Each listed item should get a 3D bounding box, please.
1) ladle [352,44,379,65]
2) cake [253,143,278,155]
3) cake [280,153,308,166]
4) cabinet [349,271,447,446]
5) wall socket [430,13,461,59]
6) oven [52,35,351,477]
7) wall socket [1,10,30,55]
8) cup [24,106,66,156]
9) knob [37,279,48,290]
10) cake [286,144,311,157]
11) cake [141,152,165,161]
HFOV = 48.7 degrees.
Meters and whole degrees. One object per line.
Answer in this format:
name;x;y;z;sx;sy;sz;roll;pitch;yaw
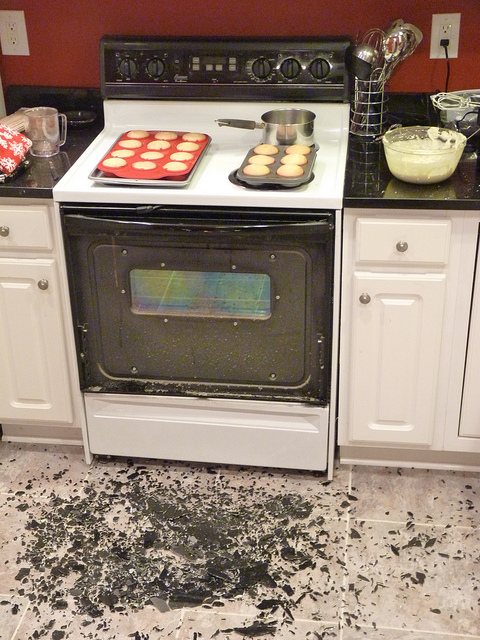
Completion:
ladle;0.340;-0.716;1.429;0.069;0.048;0.136;3;24;11
cake;0.071;-0.471;1.457;0.068;0.020;0.080;1;23;4
cake;0.148;-0.422;1.373;0.051;0.033;0.061;3;30;3
cabinet;0.447;0.090;1.549;0.300;0.512;0.305;-5;14;-9
wall socket;0.640;-0.885;1.643;0.088;0.132;0.012;8;61;22
oven;-0.059;-0.151;1.685;0.772;1.045;0.720;1;19;11
wall socket;-0.778;-0.988;1.815;0.102;0.129;0.013;3;24;11
cup;-0.576;-0.568;1.586;0.091;0.127;0.143;18;29;23
knob;-0.547;-0.099;1.467;0.028;0.030;0.010;5;25;14
cake;0.161;-0.461;1.438;0.059;0.034;0.040;8;53;1
cake;-0.235;-0.443;1.431;0.057;0.015;0.062;-4;23;-6
